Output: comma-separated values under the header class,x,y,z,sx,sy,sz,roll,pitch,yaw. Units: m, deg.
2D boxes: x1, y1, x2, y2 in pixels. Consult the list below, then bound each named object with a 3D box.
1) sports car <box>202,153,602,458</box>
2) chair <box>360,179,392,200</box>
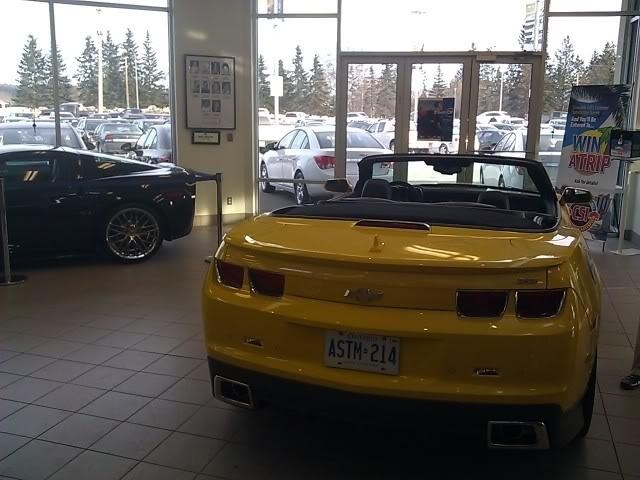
class,x,y,z,sx,sy,sz,roll,pitch,yaw
sports car,0.900,0.025,3.424,1.923,1.142,3.428,4,16,27
chair,0.408,-0.358,3.217,0.192,0.191,0.157,-1,9,6
